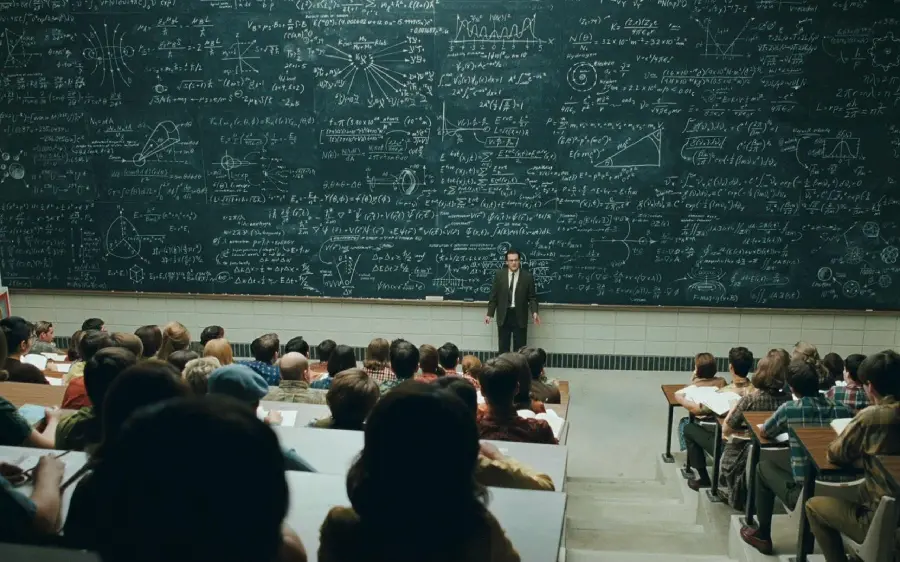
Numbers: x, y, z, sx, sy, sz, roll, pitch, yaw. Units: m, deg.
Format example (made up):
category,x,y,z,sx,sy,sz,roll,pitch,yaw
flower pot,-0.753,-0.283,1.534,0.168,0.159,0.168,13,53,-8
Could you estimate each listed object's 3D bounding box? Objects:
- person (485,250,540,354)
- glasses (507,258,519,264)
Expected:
category,x,y,z,sx,sy,sz,roll,pitch,yaw
person,0.759,0.410,8.710,0.687,1.462,0.450,4,16,16
glasses,0.741,-0.234,8.528,0.138,0.042,0.093,0,3,-14
